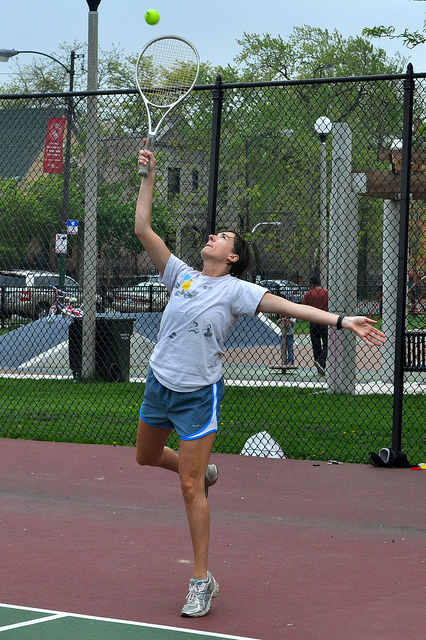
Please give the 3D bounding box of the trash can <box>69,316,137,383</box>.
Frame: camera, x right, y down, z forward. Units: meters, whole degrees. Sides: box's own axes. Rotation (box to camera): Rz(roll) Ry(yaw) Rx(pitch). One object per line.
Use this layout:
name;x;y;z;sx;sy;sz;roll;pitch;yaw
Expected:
trash can;-2.187;0.534;12.593;1.168;1.650;1.179;-1;3;-21

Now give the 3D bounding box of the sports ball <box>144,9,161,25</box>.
sports ball;-0.480;-2.350;5.332;0.089;0.086;0.146;2;-2;-29

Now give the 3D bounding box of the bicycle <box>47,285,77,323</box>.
bicycle;-3.389;-0.380;15.056;0.824;0.493;0.502;3;-9;15

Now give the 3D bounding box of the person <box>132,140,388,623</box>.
person;0.097;0.246;3.015;1.057;2.002;0.697;6;-11;15

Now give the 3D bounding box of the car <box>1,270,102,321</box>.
car;-3.586;-0.515;14.922;2.294;1.117;1.445;-2;4;-20
